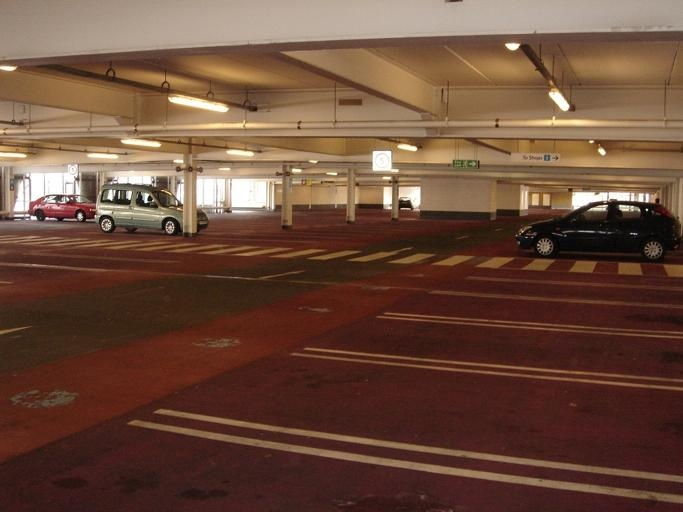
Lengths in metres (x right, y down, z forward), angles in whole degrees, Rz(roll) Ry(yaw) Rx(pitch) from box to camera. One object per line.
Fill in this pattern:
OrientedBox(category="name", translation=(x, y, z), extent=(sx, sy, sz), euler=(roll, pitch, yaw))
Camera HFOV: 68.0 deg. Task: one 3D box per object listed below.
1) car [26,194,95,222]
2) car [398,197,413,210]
OrientedBox(category="car", translation=(-23.829, -4.005, 42.908), extent=(6.322, 1.606, 2.570), euler=(0, 2, 19))
OrientedBox(category="car", translation=(10.429, -8.547, 83.795), extent=(1.935, 1.562, 1.054), euler=(1, 7, 3))
